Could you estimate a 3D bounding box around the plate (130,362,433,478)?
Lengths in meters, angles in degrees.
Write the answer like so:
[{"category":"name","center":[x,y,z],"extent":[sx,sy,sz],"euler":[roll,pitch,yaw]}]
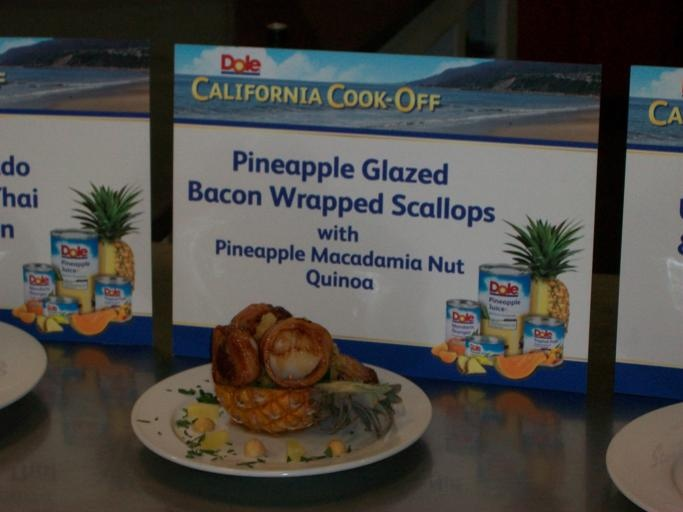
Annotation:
[{"category":"plate","center":[-0.090,0.239,1.039],"extent":[0.445,0.080,0.300],"euler":[2,5,6]}]
